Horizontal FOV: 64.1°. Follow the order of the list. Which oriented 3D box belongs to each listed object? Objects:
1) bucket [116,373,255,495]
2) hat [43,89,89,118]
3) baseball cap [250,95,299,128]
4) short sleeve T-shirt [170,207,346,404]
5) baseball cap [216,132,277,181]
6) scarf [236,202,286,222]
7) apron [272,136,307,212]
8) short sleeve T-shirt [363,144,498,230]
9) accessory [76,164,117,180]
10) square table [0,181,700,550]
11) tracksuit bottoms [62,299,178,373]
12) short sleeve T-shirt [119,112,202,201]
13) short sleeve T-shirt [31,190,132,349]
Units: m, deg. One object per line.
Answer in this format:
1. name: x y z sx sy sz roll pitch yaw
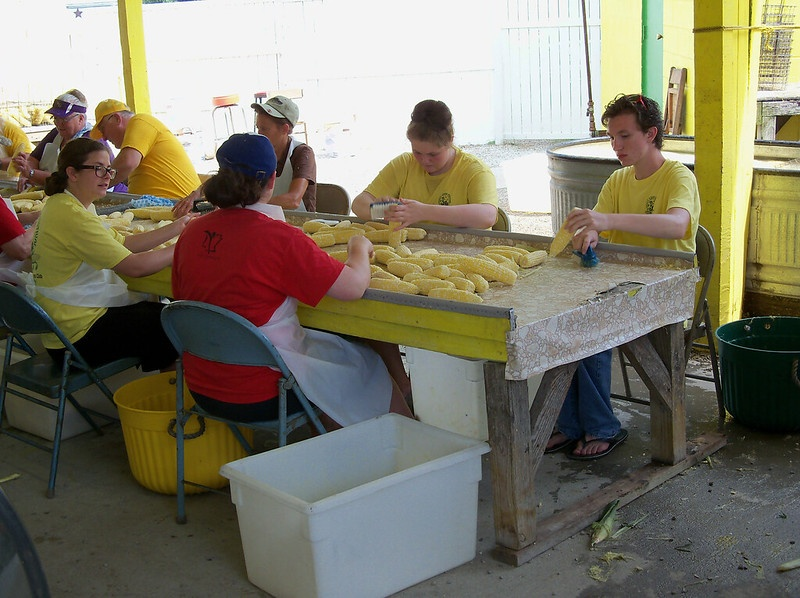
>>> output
1. bucket: -1.104 0.661 3.241 0.544 0.439 0.623 -8 10 -3
2. hat: -2.965 -1.746 5.725 0.223 0.187 0.336 20 25 34
3. baseball cap: -0.858 -1.349 4.562 0.307 0.169 0.215 26 4 -42
4. short sleeve T-shirt: -0.586 0.057 2.636 0.775 0.695 0.406 9 21 22
5. baseball cap: -0.628 -0.580 2.624 0.232 0.191 0.168 -8 15 -15
6. scarf: -0.539 -0.370 2.714 0.089 0.048 0.125 4 -10 16
7. apron: -0.835 -0.966 4.967 0.274 0.473 0.451 3 7 -12
8. short sleeve T-shirt: 0.156 -0.581 3.772 0.806 0.583 0.847 5 18 8
9. accessory: -1.579 -0.658 3.317 0.115 0.034 0.116 4 7 22
10. square table: 0.200 0.209 3.370 2.030 0.932 1.574 8 14 40
11. tracksuit bottoms: -1.410 0.195 3.324 0.539 0.166 0.326 -21 39 -37
12. short sleeve T-shirt: -2.009 -1.209 5.175 0.391 0.631 0.658 -4 30 -4
13. short sleeve T-shirt: -1.687 -0.187 3.468 0.547 0.747 0.524 -1 12 -23
